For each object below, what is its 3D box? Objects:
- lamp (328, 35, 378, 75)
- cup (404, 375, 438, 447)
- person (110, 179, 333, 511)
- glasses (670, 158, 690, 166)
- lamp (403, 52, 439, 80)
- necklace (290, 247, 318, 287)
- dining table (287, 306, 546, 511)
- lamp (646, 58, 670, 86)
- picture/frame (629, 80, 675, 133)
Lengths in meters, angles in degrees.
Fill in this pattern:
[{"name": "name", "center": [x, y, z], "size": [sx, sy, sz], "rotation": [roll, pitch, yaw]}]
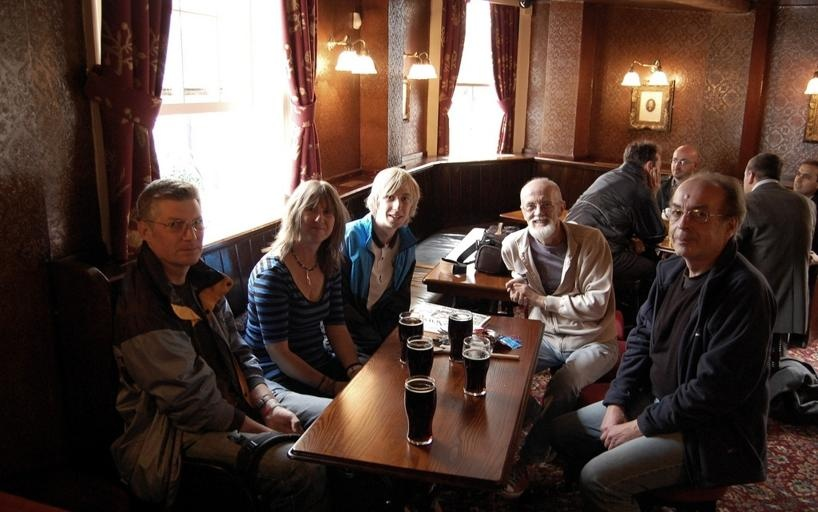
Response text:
[{"name": "lamp", "center": [-0.585, -2.008, 5.662], "size": [0.636, 0.378, 0.320], "rotation": [18, 27, 36]}, {"name": "cup", "center": [0.049, 0.681, 2.483], "size": [0.123, 0.286, 0.148], "rotation": [1, 12, 0]}, {"name": "person", "center": [-1.080, 0.425, 2.834], "size": [0.812, 1.572, 0.643], "rotation": [-5, 13, -29]}, {"name": "glasses", "center": [2.695, -0.928, 5.585], "size": [0.132, 0.069, 0.052], "rotation": [7, 13, 26]}, {"name": "lamp", "center": [0.113, -2.253, 6.729], "size": [0.378, 0.334, 0.489], "rotation": [-17, 25, -40]}, {"name": "necklace", "center": [-0.614, 0.095, 3.333], "size": [0.107, 0.172, 0.031], "rotation": [-4, -4, -44]}, {"name": "dining table", "center": [0.048, 0.771, 2.570], "size": [0.597, 0.237, 1.013], "rotation": [8, 21, 20]}, {"name": "lamp", "center": [3.390, -2.487, 7.602], "size": [0.255, 0.350, 0.611], "rotation": [6, 12, 23]}, {"name": "picture/frame", "center": [3.454, -2.125, 7.945], "size": [0.644, 0.721, 0.084], "rotation": [9, 16, 29]}]
